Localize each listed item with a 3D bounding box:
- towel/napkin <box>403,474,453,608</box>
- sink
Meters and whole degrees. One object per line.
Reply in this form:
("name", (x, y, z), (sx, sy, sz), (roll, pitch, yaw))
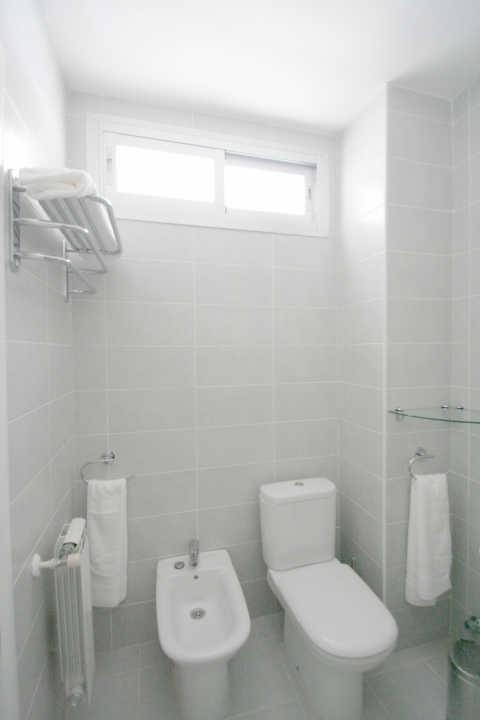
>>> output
("towel/napkin", (0.665, 0.626, 1.822), (0.177, 0.441, 0.099), (-3, 4, -15))
("sink", (-0.132, 0.815, 1.701), (0.280, 0.161, 0.482), (-4, 4, -12))
